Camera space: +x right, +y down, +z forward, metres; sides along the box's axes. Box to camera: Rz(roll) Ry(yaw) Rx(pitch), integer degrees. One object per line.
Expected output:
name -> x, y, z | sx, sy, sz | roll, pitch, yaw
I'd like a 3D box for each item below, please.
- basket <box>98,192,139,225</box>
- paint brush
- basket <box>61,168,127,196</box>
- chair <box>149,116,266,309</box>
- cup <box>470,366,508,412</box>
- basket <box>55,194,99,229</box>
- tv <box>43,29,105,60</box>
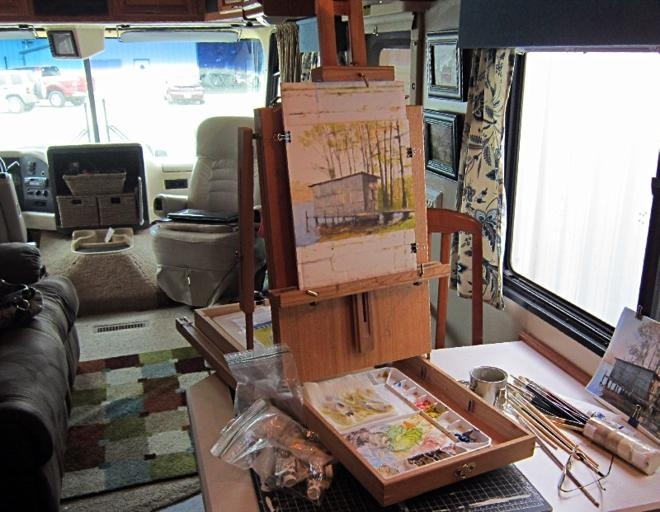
basket -> -2.272, -0.512, 5.255 | 0.383, 0.256, 0.353 | -2, 8, -13
paint brush -> 0.658, 0.570, 1.479 | 0.197, 0.095, 0.288 | 5, 36, -20
basket -> -2.470, -0.770, 5.182 | 0.617, 0.247, 0.168 | -10, 19, -20
chair -> -1.088, -0.357, 4.259 | 0.997, 1.602, 1.177 | -6, 18, -7
cup -> 0.490, 0.406, 1.507 | 0.134, 0.120, 0.086 | -2, 17, -2
basket -> -2.648, -0.462, 5.137 | 0.374, 0.269, 0.358 | -6, 15, -28
tv -> -2.477, -2.081, 4.759 | 0.467, 0.299, 0.319 | -16, 37, -32
